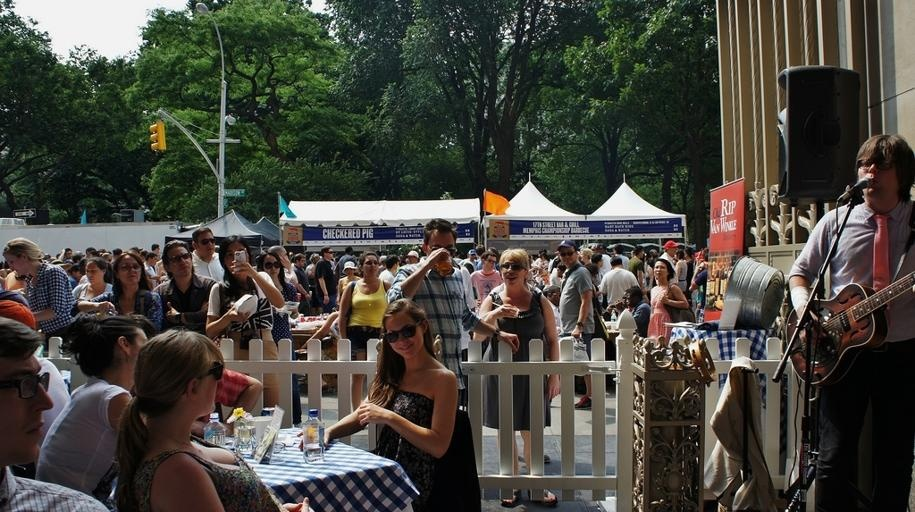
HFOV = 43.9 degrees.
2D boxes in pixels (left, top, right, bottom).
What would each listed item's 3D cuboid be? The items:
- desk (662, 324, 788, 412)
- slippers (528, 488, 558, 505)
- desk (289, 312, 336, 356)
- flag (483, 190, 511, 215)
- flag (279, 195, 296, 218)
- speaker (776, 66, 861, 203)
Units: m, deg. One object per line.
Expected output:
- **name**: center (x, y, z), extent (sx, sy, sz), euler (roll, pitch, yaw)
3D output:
- **desk**: center (6.525, 2.882, 28.433), extent (2.112, 1.615, 2.153), euler (1, -10, 3)
- **slippers**: center (2.103, 6.004, 27.982), extent (0.573, 0.224, 0.326), euler (-6, -8, 30)
- **desk**: center (-4.036, 2.225, 31.715), extent (1.129, 0.777, 1.711), euler (-1, 2, 2)
- **flag**: center (1.294, -1.990, 42.984), extent (1.220, 0.945, 0.805), euler (3, -5, -40)
- **flag**: center (-6.580, -1.805, 43.883), extent (0.605, 0.881, 1.212), euler (0, -4, -7)
- **speaker**: center (9.046, -2.987, 28.841), extent (1.477, 3.947, 1.622), euler (0, 0, 9)
